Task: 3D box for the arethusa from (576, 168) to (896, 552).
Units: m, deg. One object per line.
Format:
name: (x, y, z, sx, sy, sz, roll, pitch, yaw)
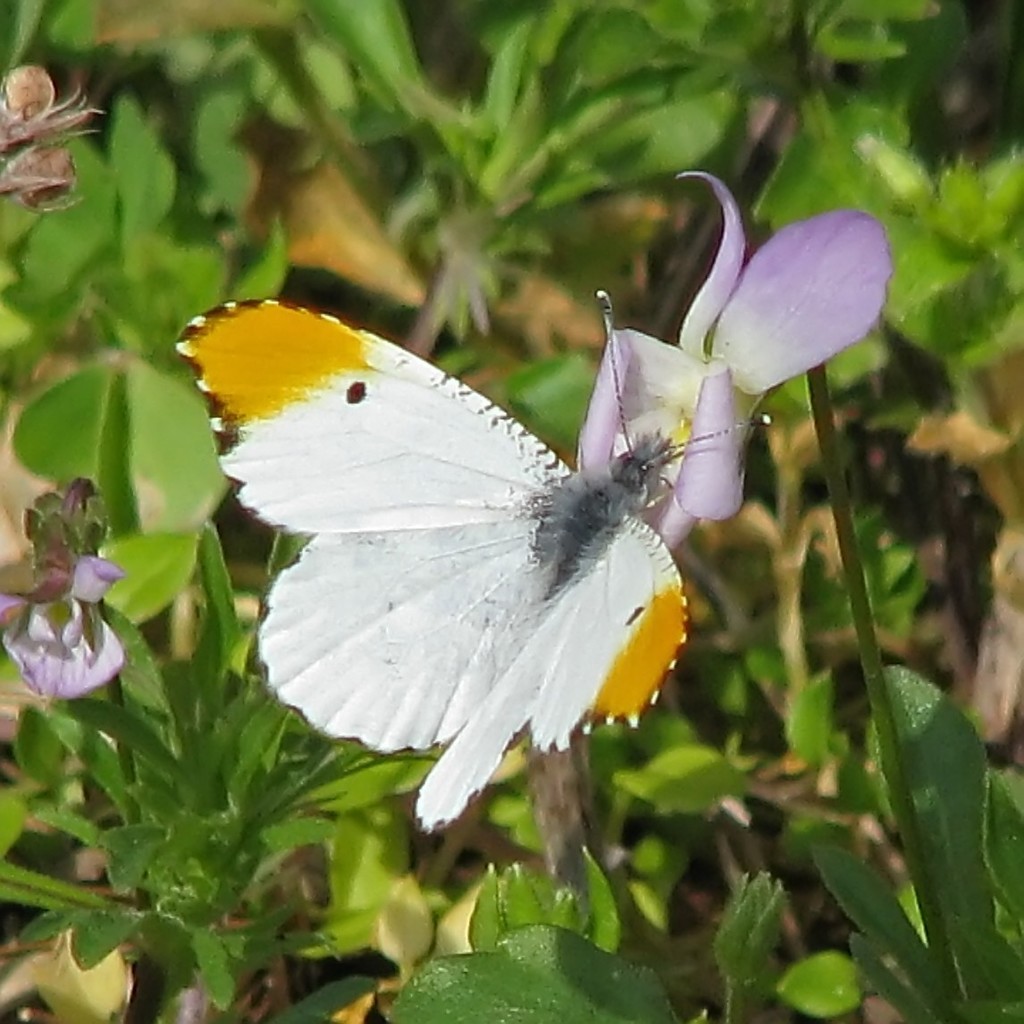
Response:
arethusa: (0.160, -0.112, 1.310, 0.179, 0.338, 0.153, 41, 46, 14)
